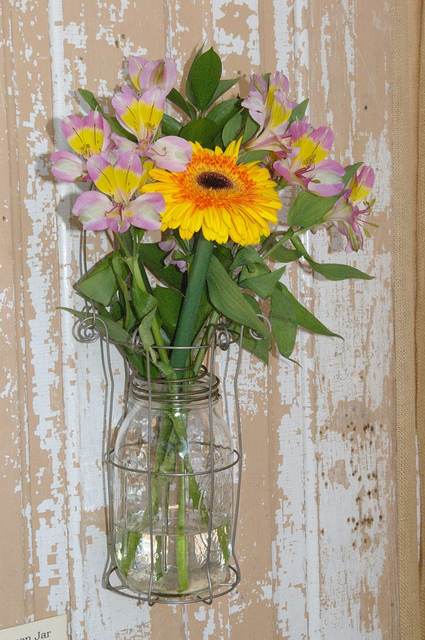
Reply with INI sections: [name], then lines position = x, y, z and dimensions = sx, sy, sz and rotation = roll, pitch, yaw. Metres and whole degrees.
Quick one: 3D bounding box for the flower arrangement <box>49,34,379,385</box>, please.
[flower arrangement]
position = -0.007, -0.075, 0.848
dimensions = 0.303, 0.390, 0.233
rotation = -12, 31, -21
